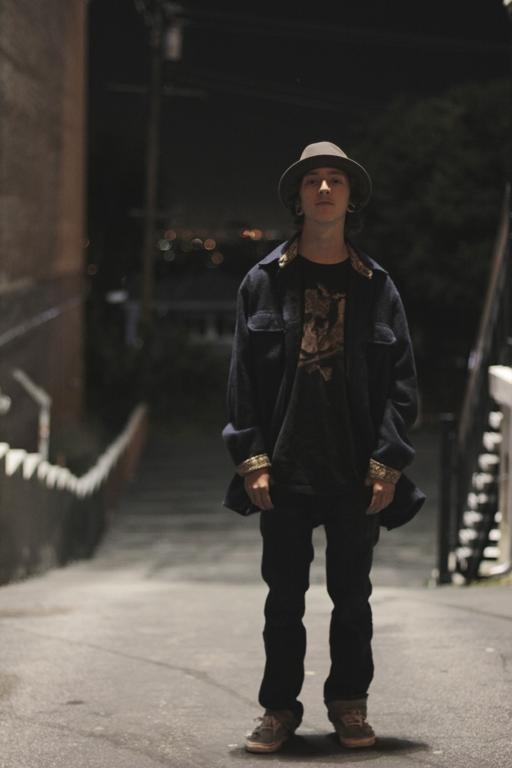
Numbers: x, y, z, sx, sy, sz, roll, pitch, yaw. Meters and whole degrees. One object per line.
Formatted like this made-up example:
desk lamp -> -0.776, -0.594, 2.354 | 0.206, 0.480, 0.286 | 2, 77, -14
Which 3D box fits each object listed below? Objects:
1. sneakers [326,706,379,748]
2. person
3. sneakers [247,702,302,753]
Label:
sneakers -> 0.279, 0.993, 2.491 | 0.128, 0.111, 0.115 | -1, -3, -3
person -> 0.193, 0.163, 2.549 | 0.577, 1.786, 0.260 | -1, -3, 1
sneakers -> 0.056, 1.010, 2.500 | 0.073, 0.082, 0.213 | -2, -4, 34
